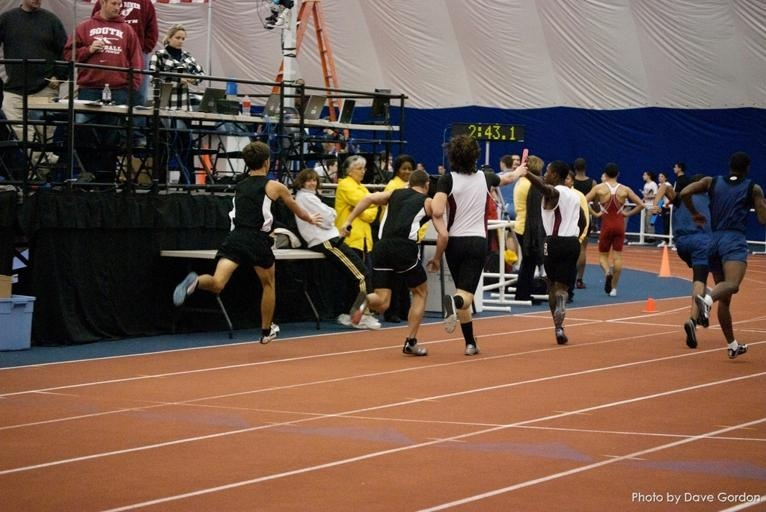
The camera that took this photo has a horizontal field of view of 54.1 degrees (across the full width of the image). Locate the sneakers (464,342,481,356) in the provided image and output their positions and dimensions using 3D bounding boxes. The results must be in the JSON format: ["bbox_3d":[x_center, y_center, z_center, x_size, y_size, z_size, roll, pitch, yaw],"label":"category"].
[{"bbox_3d":[1.253,1.295,10.508,0.146,0.154,0.356,-2,-6,15],"label":"sneakers"}]

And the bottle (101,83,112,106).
[{"bbox_3d":[-4.396,-2.560,11.874,0.134,0.338,0.302,-2,4,-22],"label":"bottle"}]

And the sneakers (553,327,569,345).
[{"bbox_3d":[2.691,1.215,11.212,0.140,0.169,0.363,-4,-34,12],"label":"sneakers"}]

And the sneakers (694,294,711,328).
[{"bbox_3d":[4.146,0.658,9.636,0.213,0.475,0.168,-30,24,-37],"label":"sneakers"}]

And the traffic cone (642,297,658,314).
[{"bbox_3d":[5.297,0.981,14.868,0.347,0.349,0.321,-2,1,-35],"label":"traffic cone"}]

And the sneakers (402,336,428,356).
[{"bbox_3d":[0.446,1.241,10.383,0.325,0.273,0.172,0,4,-2],"label":"sneakers"}]

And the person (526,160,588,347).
[{"bbox_3d":[2.645,-0.077,11.423,0.679,2.768,1.183,1,4,13],"label":"person"}]

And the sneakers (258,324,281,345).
[{"bbox_3d":[-1.683,1.096,11.178,0.155,0.221,0.461,17,35,24],"label":"sneakers"}]

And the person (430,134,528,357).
[{"bbox_3d":[1.215,-0.153,10.366,0.992,3.051,1.437,0,4,9],"label":"person"}]

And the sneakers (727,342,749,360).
[{"bbox_3d":[4.701,1.247,9.928,0.199,0.254,0.223,2,4,25],"label":"sneakers"}]

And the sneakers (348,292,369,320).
[{"bbox_3d":[-0.393,0.807,12.078,0.181,0.553,0.220,24,9,36],"label":"sneakers"}]

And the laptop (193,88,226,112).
[{"bbox_3d":[-3.007,-2.721,13.067,0.506,0.490,0.392,1,31,-17],"label":"laptop"}]

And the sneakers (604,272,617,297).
[{"bbox_3d":[5.132,0.633,16.814,0.223,0.628,0.266,-5,15,-5],"label":"sneakers"}]

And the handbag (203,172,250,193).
[{"bbox_3d":[-2.809,-1.321,13.414,0.788,0.295,0.641,1,2,17],"label":"handbag"}]
